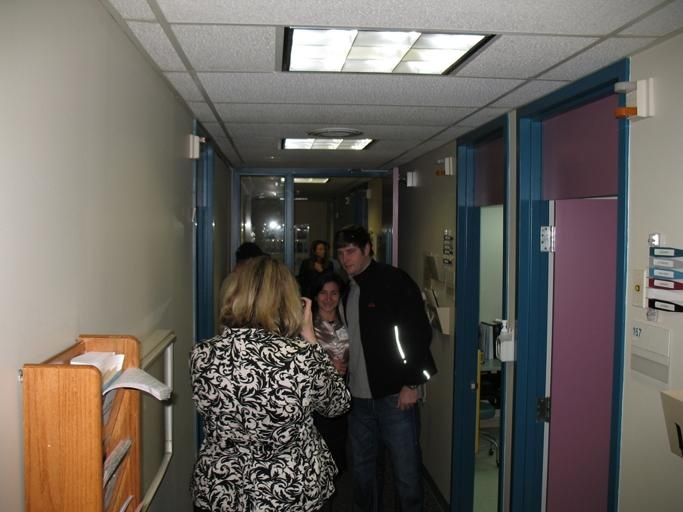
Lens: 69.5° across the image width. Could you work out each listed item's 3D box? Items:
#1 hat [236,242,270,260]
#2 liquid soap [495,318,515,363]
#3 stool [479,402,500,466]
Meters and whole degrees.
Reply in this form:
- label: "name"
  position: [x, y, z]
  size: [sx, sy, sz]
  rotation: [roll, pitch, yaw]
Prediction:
- label: "hat"
  position: [-0.770, -0.050, 4.276]
  size: [0.193, 0.111, 0.139]
  rotation: [-17, 4, 1]
- label: "liquid soap"
  position: [0.962, 0.517, 2.913]
  size: [0.097, 0.267, 0.126]
  rotation: [0, 3, -4]
- label: "stool"
  position: [1.374, 1.557, 4.548]
  size: [0.171, 0.540, 0.622]
  rotation: [1, 3, 18]
